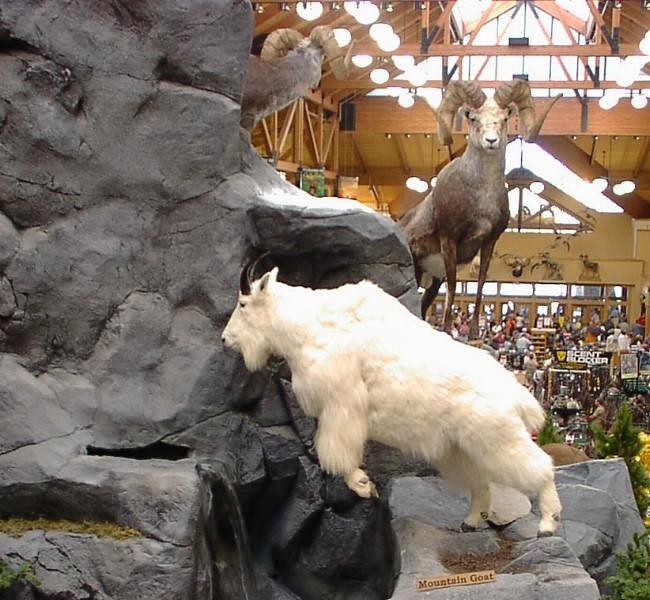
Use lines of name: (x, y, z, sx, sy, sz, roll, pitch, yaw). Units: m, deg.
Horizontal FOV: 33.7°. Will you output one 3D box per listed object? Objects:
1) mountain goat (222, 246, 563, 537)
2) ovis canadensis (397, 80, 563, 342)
mountain goat: (0.479, 0.790, 9.294, 2.294, 2.470, 2.114, 1, 11, -8)
ovis canadensis: (1.582, -0.898, 12.924, 1.115, 2.832, 3.438, 1, -7, -13)
